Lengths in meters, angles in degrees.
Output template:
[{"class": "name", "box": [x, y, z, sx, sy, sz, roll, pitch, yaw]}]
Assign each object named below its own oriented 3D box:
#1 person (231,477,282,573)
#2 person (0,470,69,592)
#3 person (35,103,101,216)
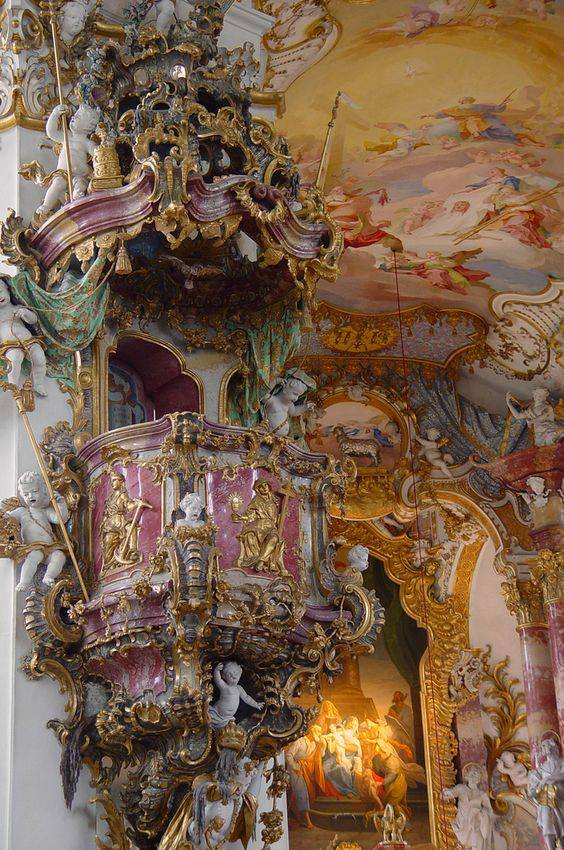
[{"class": "person", "box": [-0.160, 0.638, 8.549, 0.322, 0.592, 0.129, 10, -14, -41]}, {"class": "person", "box": [-1.594, 0.684, 8.709, 0.426, 0.752, 0.214, 2, -11, -8]}, {"class": "person", "box": [-1.471, -1.838, 9.420, 0.270, 0.783, 0.513, 7, -12, -32]}]
